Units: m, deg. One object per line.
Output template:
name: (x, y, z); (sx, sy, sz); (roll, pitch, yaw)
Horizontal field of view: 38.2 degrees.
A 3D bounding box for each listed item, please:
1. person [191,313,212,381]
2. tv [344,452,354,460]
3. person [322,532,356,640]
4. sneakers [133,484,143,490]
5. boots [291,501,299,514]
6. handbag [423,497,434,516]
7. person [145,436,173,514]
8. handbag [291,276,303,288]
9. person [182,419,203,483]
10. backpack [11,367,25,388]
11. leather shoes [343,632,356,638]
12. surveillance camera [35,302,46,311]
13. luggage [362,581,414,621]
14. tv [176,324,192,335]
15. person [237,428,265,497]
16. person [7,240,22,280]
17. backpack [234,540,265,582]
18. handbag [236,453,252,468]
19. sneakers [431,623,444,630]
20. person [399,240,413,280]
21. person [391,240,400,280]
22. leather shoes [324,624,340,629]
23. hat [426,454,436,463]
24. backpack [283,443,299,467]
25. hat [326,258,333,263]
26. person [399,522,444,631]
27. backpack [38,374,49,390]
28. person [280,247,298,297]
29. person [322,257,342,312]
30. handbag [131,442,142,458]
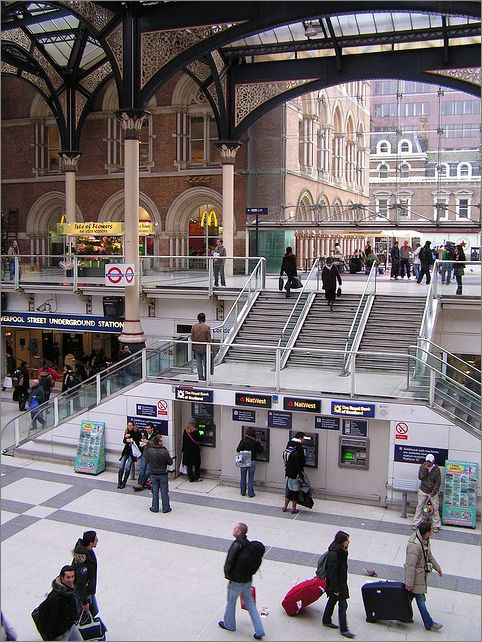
person: (-0.733, 0.462, 12.877); (0.369, 1.193, 0.737); (0, 4, -4)
tv: (1.783, 2.207, 11.420); (0.126, 0.133, 0.035); (0, 1, 15)
person: (1.048, 2.797, 7.398); (0.344, 1.241, 0.573); (0, 4, 6)
sneakers: (-1.852, 2.962, 12.413); (0.222, 0.102, 0.083); (6, 3, 33)
boots: (0.880, 3.009, 11.254); (0.068, 0.150, 0.197); (5, 16, 18)
handbag: (2.845, 2.800, 10.503); (0.095, 0.265, 0.179); (9, -7, -34)
person: (-1.284, 2.423, 11.142); (0.393, 1.298, 0.415); (1, 9, 3)
handbag: (1.397, -0.984, 17.357); (0.214, 0.328, 0.440); (1, 9, 28)
person: (-0.881, 2.358, 12.538); (0.352, 1.215, 0.656); (0, 4, -4)
backpack: (-6.098, 1.563, 19.129); (0.187, 0.514, 0.490); (-4, 5, -42)
leather shoes: (1.163, 3.350, 7.447); (0.144, 0.061, 0.051); (-3, 2, 18)
surveillance camera: (-5.802, -0.453, 20.275); (0.452, 0.256, 0.111); (2, 5, 30)
luggage: (1.610, 3.054, 7.573); (0.563, 0.578, 0.208); (-5, 0, 19)
tv: (-1.499, 0.169, 18.320); (0.310, 0.316, 0.076); (6, 11, 12)
person: (0.168, 2.384, 11.734); (0.417, 1.303, 0.695); (0, 4, 0)
person: (-6.983, -1.934, 21.435); (0.311, 1.239, 3.296); (-1, 5, -17)
backpack: (0.095, 2.480, 7.101); (0.275, 0.435, 0.148); (-2, 4, -18)
handbag: (0.049, 2.292, 11.531); (0.269, 0.292, 0.206); (5, -7, -42)
sneakers: (2.119, 3.301, 7.543); (0.140, 0.069, 0.054); (-9, 6, 13)
person: (5.282, -1.976, 22.288); (0.301, 1.140, 1.154); (1, 4, 12)
person: (4.992, -1.982, 22.389); (0.282, 1.154, 1.370); (1, 4, 12)
leather shoes: (1.007, 3.376, 7.676); (0.154, 0.067, 0.055); (0, 10, -4)
hat: (2.779, 2.013, 10.233); (0.102, 0.150, 0.133); (-5, -7, 37)
backpack: (0.725, 2.087, 10.915); (0.198, 0.290, 0.265); (-1, -4, 43)
hat: (1.956, -1.371, 15.434); (0.119, 0.137, 0.138); (-5, 15, -32)
person: (1.962, 2.717, 7.431); (0.352, 1.306, 0.512); (1, 4, 23)
backpack: (-5.069, 1.536, 17.926); (0.284, 0.435, 0.218); (-11, 22, -29)
person: (1.177, -1.242, 17.013); (0.407, 1.218, 1.141); (0, 4, 4)
person: (2.075, -0.880, 15.891); (0.404, 1.184, 1.224); (0, 4, 7)
handbag: (-1.872, 2.295, 12.420); (0.152, 0.273, 0.064); (-18, 0, 0)
